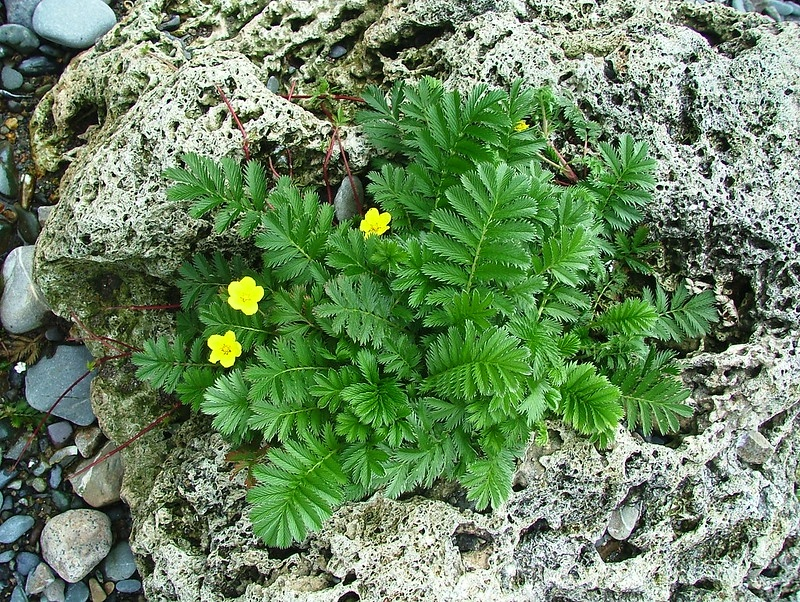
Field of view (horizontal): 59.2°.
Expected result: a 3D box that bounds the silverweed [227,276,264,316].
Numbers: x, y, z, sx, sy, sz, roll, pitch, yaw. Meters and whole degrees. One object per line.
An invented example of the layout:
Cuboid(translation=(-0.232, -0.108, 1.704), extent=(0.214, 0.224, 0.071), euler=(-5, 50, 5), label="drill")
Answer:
Cuboid(translation=(-0.913, -0.058, 4.196), extent=(0.234, 0.247, 0.070), euler=(-21, 56, 27), label="silverweed")

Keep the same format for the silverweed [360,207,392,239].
Cuboid(translation=(-0.145, -0.474, 4.261), extent=(0.174, 0.062, 0.184), euler=(-33, 80, 1), label="silverweed")
